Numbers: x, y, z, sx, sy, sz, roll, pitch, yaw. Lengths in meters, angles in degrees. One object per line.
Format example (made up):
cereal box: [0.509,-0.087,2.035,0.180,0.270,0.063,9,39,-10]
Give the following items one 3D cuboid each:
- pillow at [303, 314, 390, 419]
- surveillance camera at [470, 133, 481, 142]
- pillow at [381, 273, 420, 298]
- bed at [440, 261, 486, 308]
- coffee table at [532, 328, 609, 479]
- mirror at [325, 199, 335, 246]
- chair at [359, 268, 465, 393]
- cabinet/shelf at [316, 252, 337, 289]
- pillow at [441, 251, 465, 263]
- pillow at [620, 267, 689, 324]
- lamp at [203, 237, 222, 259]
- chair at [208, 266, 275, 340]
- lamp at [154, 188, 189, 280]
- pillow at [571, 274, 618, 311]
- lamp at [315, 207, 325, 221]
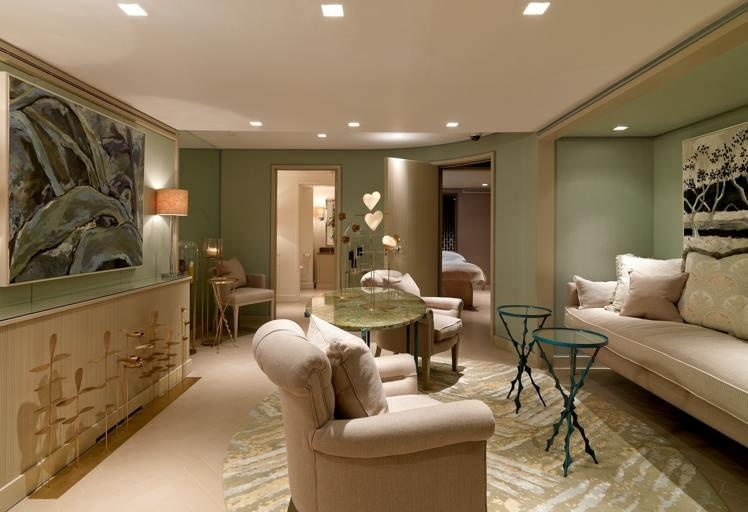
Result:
pillow: [-0.202,0.741,3.161,0.445,0.582,0.768,-1,10,-18]
surveillance camera: [1.361,-1.578,6.220,0.145,0.086,0.199,-2,7,5]
pillow: [0.313,0.288,5.328,0.320,0.293,0.309,-17,7,12]
bed: [1.707,0.460,8.881,0.821,0.530,1.007,-1,0,2]
coffee table: [1.578,1.142,3.749,0.576,0.945,0.582,1,-2,13]
mirror: [-0.984,-0.767,11.235,0.255,1.085,0.227,3,5,17]
chair: [0.452,0.724,5.280,1.029,1.035,1.094,-1,3,-43]
cabinet/shelf: [-1.031,0.310,10.857,0.501,0.803,0.431,0,3,15]
pillow: [1.811,0.008,10.761,0.359,0.149,0.498,0,-4,-1]
pillow: [2.708,0.412,4.699,0.776,0.725,0.405,-3,-11,40]
lamp: [-2.045,-0.120,6.038,0.234,0.263,0.235,2,-1,-4]
chair: [-1.930,0.586,6.742,0.671,1.057,0.776,5,6,27]
lamp: [-2.156,-0.269,5.090,0.300,0.924,0.387,-1,4,-3]
pillow: [2.419,0.405,5.138,0.378,0.262,0.130,-1,11,-15]
lamp: [-1.280,-1.004,11.155,0.231,0.313,0.078,-2,4,-17]
